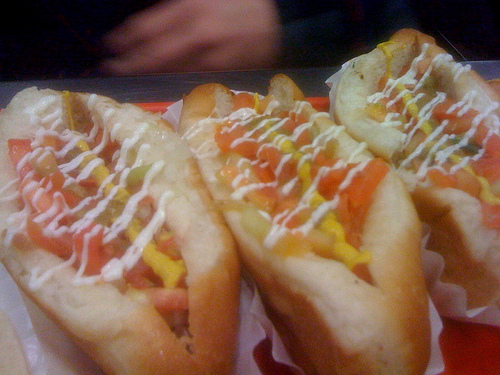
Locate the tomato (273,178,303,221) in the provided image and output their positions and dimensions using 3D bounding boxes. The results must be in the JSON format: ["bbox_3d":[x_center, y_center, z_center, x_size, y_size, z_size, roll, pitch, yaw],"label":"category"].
[{"bbox_3d":[0.126,0.040,1.752,0.114,0.066,0.030,-26,84,-20],"label":"tomato"}]

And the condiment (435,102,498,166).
[{"bbox_3d":[0.800,-0.188,1.885,0.043,0.050,0.285,43,83,6],"label":"condiment"}]

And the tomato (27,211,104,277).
[{"bbox_3d":[-0.579,0.171,1.574,0.192,0.063,0.186,-17,77,0],"label":"tomato"}]
